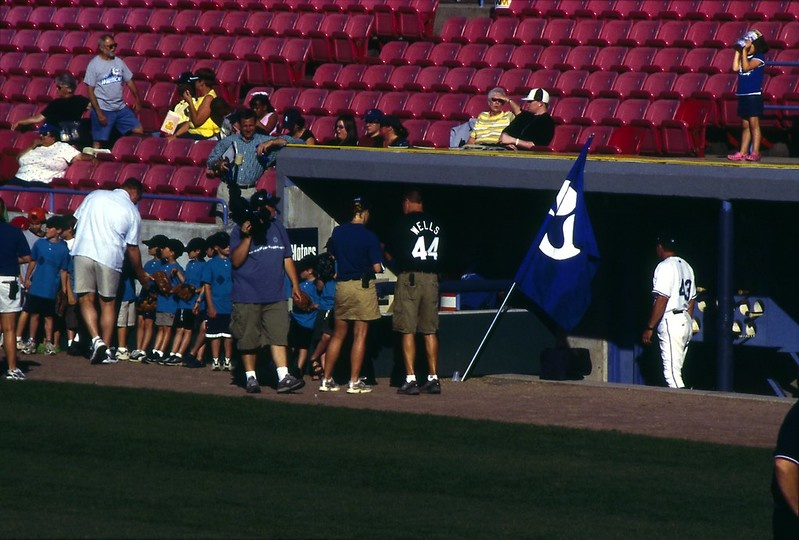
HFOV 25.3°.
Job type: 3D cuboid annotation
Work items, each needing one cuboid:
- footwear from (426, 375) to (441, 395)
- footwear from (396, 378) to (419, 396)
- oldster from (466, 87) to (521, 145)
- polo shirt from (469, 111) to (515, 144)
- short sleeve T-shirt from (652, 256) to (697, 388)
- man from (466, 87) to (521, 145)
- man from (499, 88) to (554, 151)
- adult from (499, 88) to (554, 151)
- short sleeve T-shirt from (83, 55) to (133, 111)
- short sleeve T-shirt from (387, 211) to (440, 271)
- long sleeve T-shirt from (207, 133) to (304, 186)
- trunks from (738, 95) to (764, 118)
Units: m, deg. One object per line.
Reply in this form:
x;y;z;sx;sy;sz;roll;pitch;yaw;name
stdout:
0.495;1.547;23.915;0.127;0.201;0.315;-2;7;-21;footwear
0.133;1.570;23.939;0.325;0.190;0.153;3;4;36;footwear
1.437;-2.245;26.812;0.747;1.050;0.871;6;-8;-5;oldster
1.413;-2.107;26.907;0.620;0.587;0.361;5;-6;28;polo shirt
3.843;0.720;24.843;0.649;1.778;0.457;1;5;-10;short sleeve T-shirt
1.415;-2.228;26.785;0.800;1.058;0.916;7;-8;-10;man
1.970;-2.251;26.574;0.887;1.099;0.815;0;13;-4;man
1.861;-2.175;26.587;0.898;0.967;0.711;4;7;37;adult
-4.879;-3.080;29.849;0.987;0.962;0.479;-15;25;-31;short sleeve T-shirt
0.217;-0.361;23.898;0.889;0.844;0.496;0;1;-17;short sleeve T-shirt
-2.230;-1.712;25.799;1.083;0.621;0.755;3;4;-23;long sleeve T-shirt
5.075;-2.344;25.734;0.330;0.350;0.199;-2;-8;23;trunks
